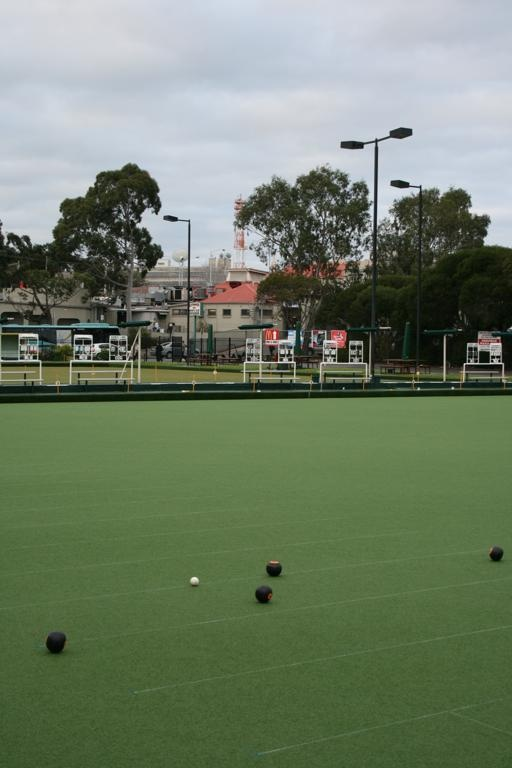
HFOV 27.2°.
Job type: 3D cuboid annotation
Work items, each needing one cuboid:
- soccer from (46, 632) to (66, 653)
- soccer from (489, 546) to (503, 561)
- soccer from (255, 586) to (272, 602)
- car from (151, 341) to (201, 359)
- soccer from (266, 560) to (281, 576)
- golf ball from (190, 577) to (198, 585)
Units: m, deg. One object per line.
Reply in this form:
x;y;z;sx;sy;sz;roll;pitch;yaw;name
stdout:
-0.854;1.108;4.518;0.080;0.081;0.082;13;15;42;soccer
1.408;0.981;6.105;0.062;0.085;0.080;1;13;12;soccer
0.048;1.050;5.268;0.075;0.083;0.067;11;-3;-40;soccer
-4.391;-1.843;57.622;2.872;1.107;1.309;-3;7;-18;car
0.105;0.989;5.730;0.071;0.076;0.075;3;10;7;soccer
-0.319;1.041;5.576;0.036;0.044;0.035;-1;-2;0;golf ball
